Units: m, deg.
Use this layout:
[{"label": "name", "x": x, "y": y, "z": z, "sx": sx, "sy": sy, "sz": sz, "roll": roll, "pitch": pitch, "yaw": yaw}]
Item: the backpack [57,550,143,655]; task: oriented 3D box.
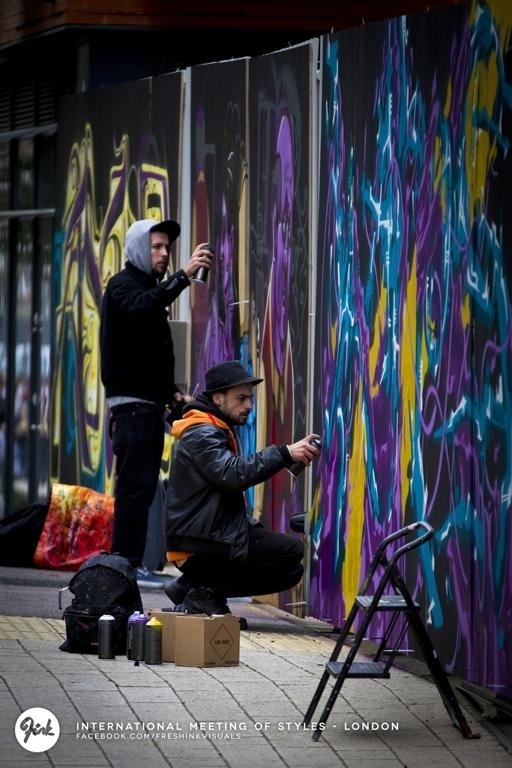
[{"label": "backpack", "x": -0.718, "y": 0.993, "z": 5.125, "sx": 0.253, "sy": 0.542, "sz": 0.378, "roll": 1, "pitch": -2, "yaw": 11}]

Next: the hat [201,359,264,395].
[{"label": "hat", "x": -0.142, "y": -0.025, "z": 5.458, "sx": 0.211, "sy": 0.103, "sz": 0.172, "roll": -35, "pitch": -1, "yaw": 26}]

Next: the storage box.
[{"label": "storage box", "x": -0.271, "y": 1.137, "z": 4.854, "sx": 0.395, "sy": 0.228, "sz": 0.260, "roll": 1, "pitch": -3, "yaw": -5}]

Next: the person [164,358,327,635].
[{"label": "person", "x": -0.096, "y": 0.490, "z": 5.817, "sx": 0.765, "sy": 2.107, "sz": 0.856, "roll": -1, "pitch": 2, "yaw": -10}]
